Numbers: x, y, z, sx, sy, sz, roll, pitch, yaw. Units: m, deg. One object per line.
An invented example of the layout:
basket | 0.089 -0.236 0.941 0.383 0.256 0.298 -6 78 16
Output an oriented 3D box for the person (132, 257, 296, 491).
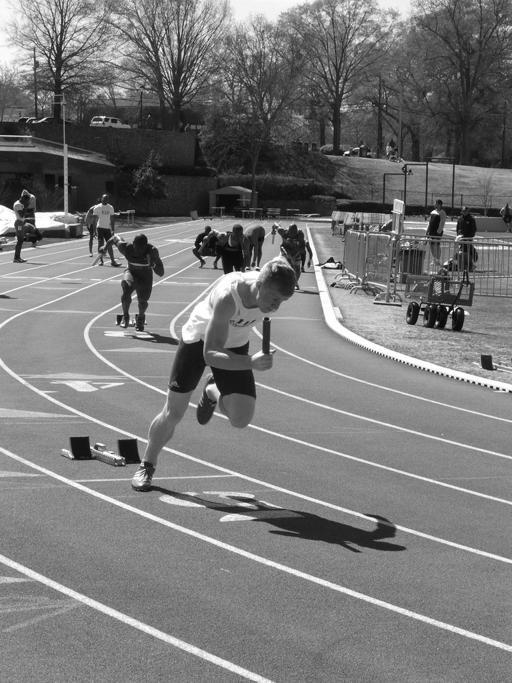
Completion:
person | -0.272 0.286 4.332 0.566 1.550 1.439 0 3 -24

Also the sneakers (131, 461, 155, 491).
sneakers | -0.791 0.930 4.907 0.088 0.145 0.284 10 3 -8
